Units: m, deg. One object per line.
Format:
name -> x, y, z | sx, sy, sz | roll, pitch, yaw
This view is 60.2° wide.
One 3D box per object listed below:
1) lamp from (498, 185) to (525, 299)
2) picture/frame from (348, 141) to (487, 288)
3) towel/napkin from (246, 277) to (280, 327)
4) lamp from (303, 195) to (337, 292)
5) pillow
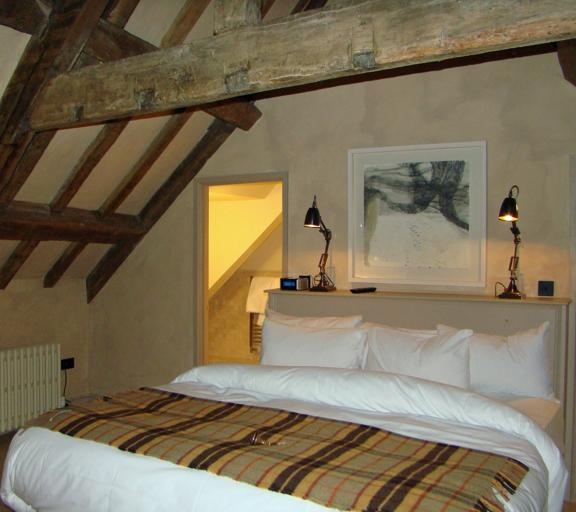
lamp -> 1.420, -0.095, 3.215 | 0.164, 0.731, 0.382 | -1, 4, 24
picture/frame -> 0.969, -0.291, 3.561 | 1.087, 1.136, 0.044 | 1, 1, 25
towel/napkin -> -0.345, 0.541, 5.936 | 0.520, 0.523, 0.173 | -2, -8, 44
lamp -> 0.239, -0.101, 3.806 | 0.216, 0.719, 0.376 | -2, 4, 2
pillow -> 0.664, 0.587, 2.936 | 1.614, 0.394, 0.446 | -1, 4, 21
